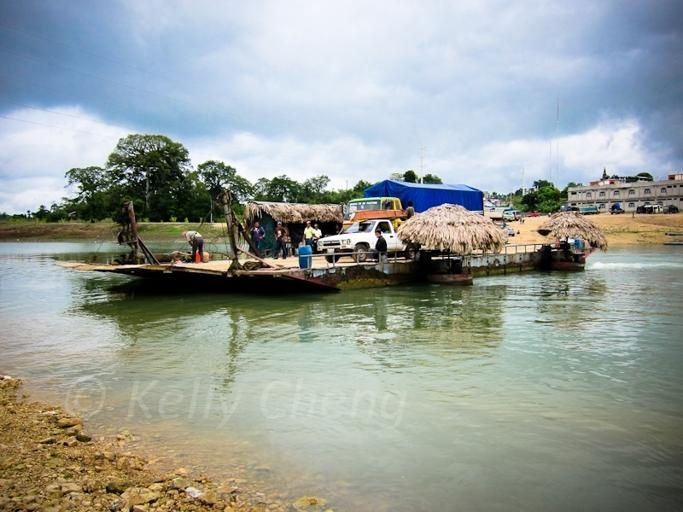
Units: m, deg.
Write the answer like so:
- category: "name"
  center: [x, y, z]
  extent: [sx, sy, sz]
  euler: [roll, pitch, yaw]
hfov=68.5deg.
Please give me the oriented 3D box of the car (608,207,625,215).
- category: "car"
  center: [40.809, -6.841, 73.769]
  extent: [1.846, 1.273, 2.989]
  euler: [2, 4, 40]

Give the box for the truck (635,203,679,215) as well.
- category: "truck"
  center: [43.719, -6.290, 68.585]
  extent: [3.554, 0.876, 2.260]
  euler: [0, 2, 8]

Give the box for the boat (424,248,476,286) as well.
- category: "boat"
  center: [5.056, 0.674, 23.672]
  extent: [3.215, 1.674, 1.571]
  euler: [-2, 0, -4]

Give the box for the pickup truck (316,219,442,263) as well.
- category: "pickup truck"
  center: [0.812, -0.590, 21.966]
  extent: [3.672, 1.315, 1.885]
  euler: [2, -4, -44]

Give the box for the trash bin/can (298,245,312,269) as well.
- category: "trash bin/can"
  center: [-1.399, 0.058, 18.881]
  extent: [0.431, 0.805, 0.578]
  euler: [-2, 6, -10]

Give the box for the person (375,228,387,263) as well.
- category: "person"
  center: [1.696, -0.436, 21.517]
  extent: [0.494, 1.459, 1.219]
  euler: [0, 6, 5]
